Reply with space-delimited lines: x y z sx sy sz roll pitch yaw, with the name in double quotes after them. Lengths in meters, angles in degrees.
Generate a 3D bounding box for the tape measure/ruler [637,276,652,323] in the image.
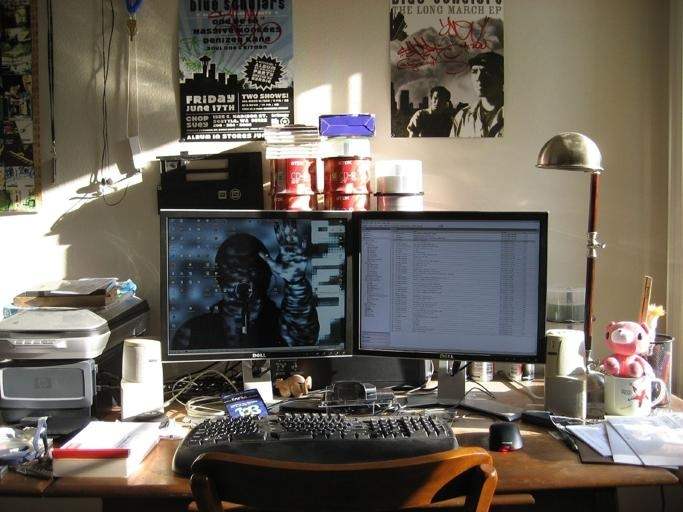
0.996 0.139 2.095 0.028 0.161 0.163 2 -2 7 "tape measure/ruler"

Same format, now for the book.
-0.617 0.509 1.696 0.228 0.084 0.230 0 3 3 "book"

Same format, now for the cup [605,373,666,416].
0.882 0.416 1.914 0.170 0.112 0.107 -1 -2 1 "cup"

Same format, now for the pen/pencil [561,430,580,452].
0.619 0.504 1.725 0.023 0.013 0.049 3 18 1 "pen/pencil"

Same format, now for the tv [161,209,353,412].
-0.254 0.149 1.957 0.639 0.625 0.208 1 3 -4 "tv"

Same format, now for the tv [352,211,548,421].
0.321 0.163 1.926 0.638 0.643 0.218 1 2 10 "tv"
